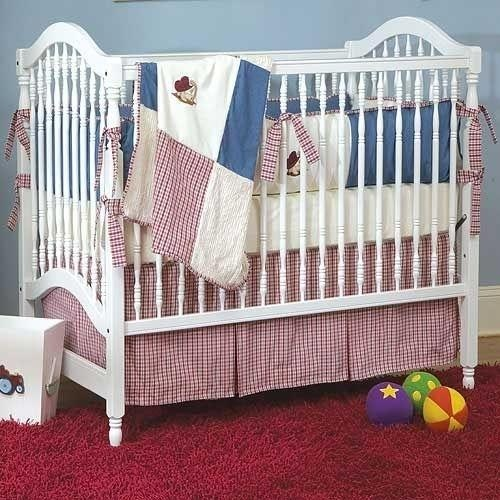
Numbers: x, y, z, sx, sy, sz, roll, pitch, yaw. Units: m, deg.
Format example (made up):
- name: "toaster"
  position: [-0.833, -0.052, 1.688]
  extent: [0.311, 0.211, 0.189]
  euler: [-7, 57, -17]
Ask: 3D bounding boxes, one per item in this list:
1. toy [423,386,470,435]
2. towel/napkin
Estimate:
- name: "toy"
  position: [0.594, 0.468, 2.499]
  extent: [0.103, 0.180, 0.110]
  euler: [-7, 2, -34]
- name: "towel/napkin"
  position: [-0.167, -0.230, 2.404]
  extent: [0.436, 1.029, 0.100]
  euler: [0, 9, -15]
